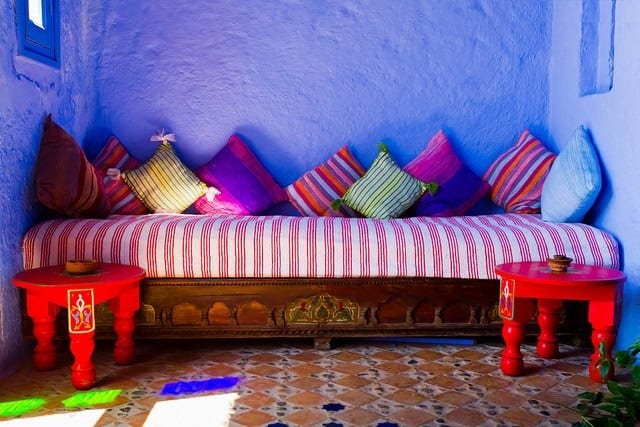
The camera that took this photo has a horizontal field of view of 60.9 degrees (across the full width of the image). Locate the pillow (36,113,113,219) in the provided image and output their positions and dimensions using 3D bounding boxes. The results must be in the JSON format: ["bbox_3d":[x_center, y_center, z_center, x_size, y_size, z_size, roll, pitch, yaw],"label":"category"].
[{"bbox_3d":[-1.947,-0.335,4.120,0.231,0.651,0.739,-16,-24,16],"label":"pillow"}]

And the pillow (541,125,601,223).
[{"bbox_3d":[1.963,-0.301,4.262,0.387,0.729,0.498,2,15,8],"label":"pillow"}]

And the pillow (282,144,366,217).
[{"bbox_3d":[0.032,-0.248,4.619,0.628,0.570,0.185,-36,-12,-1],"label":"pillow"}]

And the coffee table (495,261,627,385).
[{"bbox_3d":[1.611,0.752,3.703,0.754,0.611,0.772,5,-6,-34],"label":"coffee table"}]

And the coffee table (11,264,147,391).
[{"bbox_3d":[-1.580,0.761,3.686,0.766,0.594,0.764,-1,2,31],"label":"coffee table"}]

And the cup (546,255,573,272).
[{"bbox_3d":[1.575,0.332,3.626,0.136,0.080,0.127,0,0,0],"label":"cup"}]

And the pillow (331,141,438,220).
[{"bbox_3d":[0.483,-0.139,4.739,0.925,0.212,0.949,13,48,12],"label":"pillow"}]
